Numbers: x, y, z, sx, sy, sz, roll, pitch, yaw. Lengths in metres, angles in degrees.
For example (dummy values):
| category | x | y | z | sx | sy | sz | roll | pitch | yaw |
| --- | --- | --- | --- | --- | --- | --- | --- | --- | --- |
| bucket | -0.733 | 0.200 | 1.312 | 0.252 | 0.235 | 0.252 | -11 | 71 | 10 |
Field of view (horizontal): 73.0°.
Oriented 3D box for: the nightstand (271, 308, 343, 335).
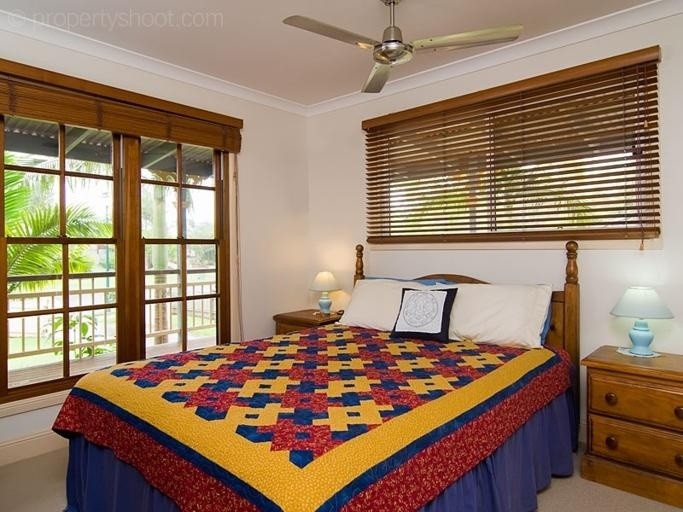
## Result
| category | x | y | z | sx | sy | sz | roll | pitch | yaw |
| --- | --- | --- | --- | --- | --- | --- | --- | --- | --- |
| nightstand | -0.328 | 0.616 | 4.524 | 0.378 | 0.359 | 0.373 | 0 | 2 | 31 |
